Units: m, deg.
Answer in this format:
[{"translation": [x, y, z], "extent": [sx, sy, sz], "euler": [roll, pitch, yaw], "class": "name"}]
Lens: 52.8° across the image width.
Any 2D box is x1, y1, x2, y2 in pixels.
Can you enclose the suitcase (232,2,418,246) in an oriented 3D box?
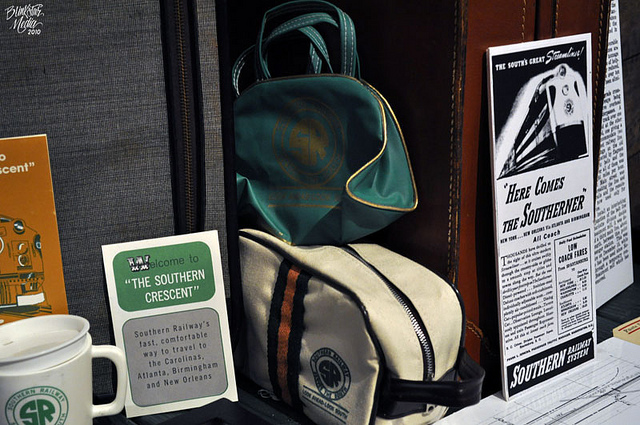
[{"translation": [0.018, -0.155, 1.243], "extent": [0.425, 0.498, 0.233], "euler": [0, 5, 16], "class": "suitcase"}]
